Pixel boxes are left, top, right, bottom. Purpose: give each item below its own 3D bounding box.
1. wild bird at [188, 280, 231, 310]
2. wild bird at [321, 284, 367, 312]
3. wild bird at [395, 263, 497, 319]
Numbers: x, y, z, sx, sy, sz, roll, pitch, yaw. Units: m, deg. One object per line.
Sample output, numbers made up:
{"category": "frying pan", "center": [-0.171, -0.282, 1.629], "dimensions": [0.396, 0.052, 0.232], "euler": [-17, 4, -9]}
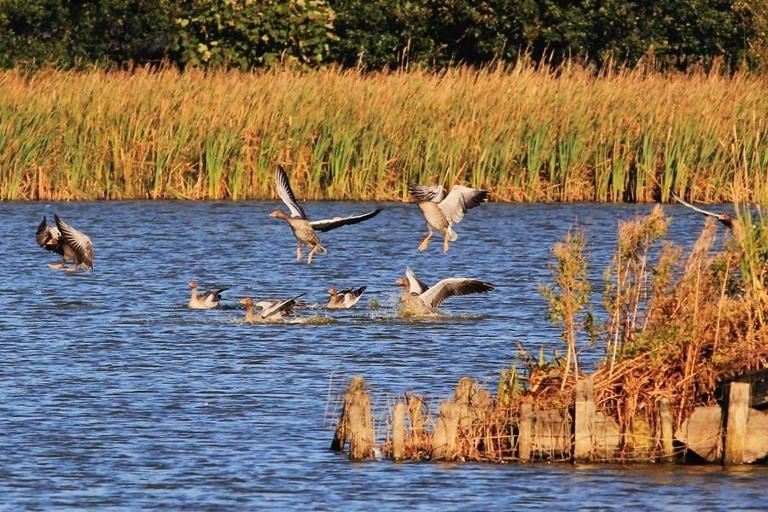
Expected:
{"category": "wild bird", "center": [-3.115, 0.749, 27.580], "dimensions": [0.770, 0.444, 0.516], "euler": [-7, 3, 39]}
{"category": "wild bird", "center": [-0.687, 0.719, 27.551], "dimensions": [0.713, 0.483, 0.358], "euler": [-30, 24, 8]}
{"category": "wild bird", "center": [0.886, 0.606, 26.491], "dimensions": [1.243, 0.712, 2.467], "euler": [-1, -12, -3]}
